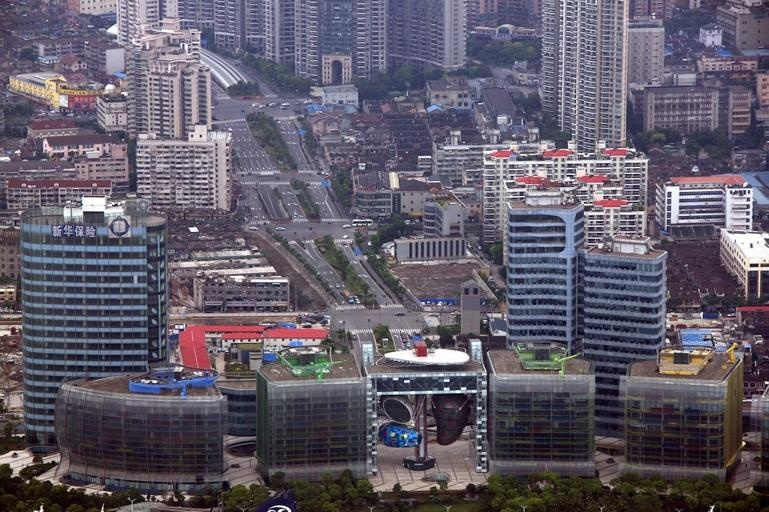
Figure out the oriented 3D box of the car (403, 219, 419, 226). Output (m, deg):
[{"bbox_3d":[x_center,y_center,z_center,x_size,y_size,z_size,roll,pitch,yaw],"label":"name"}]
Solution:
[{"bbox_3d":[3.264,-4.123,247.132,1.574,0.648,1.907,-4,8,2],"label":"car"}]
